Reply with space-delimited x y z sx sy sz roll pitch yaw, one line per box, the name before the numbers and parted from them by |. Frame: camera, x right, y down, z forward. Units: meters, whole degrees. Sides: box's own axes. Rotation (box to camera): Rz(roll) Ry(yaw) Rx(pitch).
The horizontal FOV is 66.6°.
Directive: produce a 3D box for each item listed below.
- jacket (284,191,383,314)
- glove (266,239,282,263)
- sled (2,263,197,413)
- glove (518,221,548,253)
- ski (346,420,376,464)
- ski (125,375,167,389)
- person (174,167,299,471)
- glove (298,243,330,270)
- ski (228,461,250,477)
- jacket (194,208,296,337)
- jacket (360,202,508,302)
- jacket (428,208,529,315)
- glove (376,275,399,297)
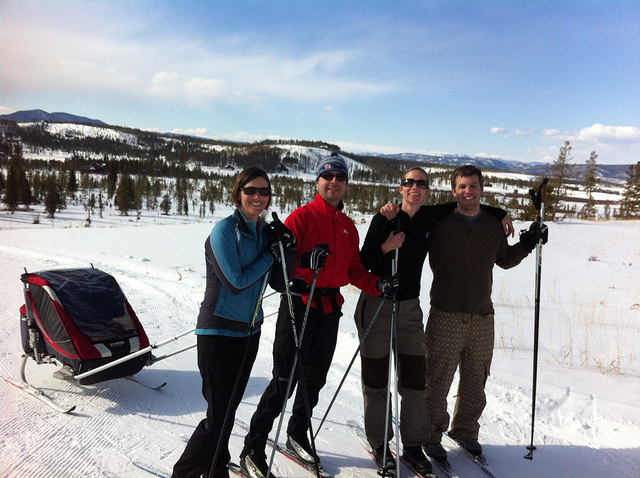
jacket | 0.202 0.188 6.370 1.229 1.572 1.007 5 -4 -18
glove | -0.568 0.157 5.932 0.165 0.259 0.108 -14 2 0
sled | -3.645 1.500 7.409 2.048 1.821 1.150 3 12 6
glove | 2.867 -0.024 6.544 0.309 0.472 0.178 12 -2 20
ski | 0.580 2.782 6.806 0.137 0.737 0.051 -30 21 2
ski | -2.747 2.272 7.649 0.619 0.073 0.238 17 18 13
person | -1.057 0.980 5.944 1.406 3.643 0.567 -6 14 -34
glove | -0.083 0.232 6.033 0.389 0.332 0.193 2 11 0
ski | -1.019 2.931 6.172 0.329 0.138 0.103 36 46 22
jacket | -1.043 0.403 5.940 0.943 1.500 0.505 -2 12 -15
jacket | 1.529 0.178 6.539 2.076 1.495 0.676 1 -7 -11
jacket | 1.998 0.300 6.478 1.041 1.566 0.956 0 7 -2
glove | 0.836 0.604 6.229 0.150 0.273 0.328 -8 15 -40
